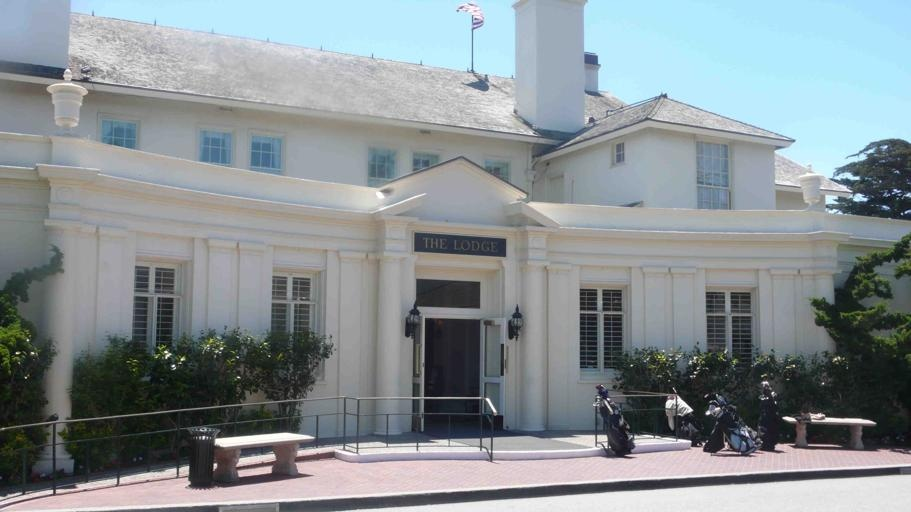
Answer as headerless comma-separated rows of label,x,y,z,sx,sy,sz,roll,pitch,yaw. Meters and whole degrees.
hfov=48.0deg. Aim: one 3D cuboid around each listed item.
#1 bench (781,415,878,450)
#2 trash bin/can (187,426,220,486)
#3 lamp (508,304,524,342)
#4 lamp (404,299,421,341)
bench,12.764,5.927,34.810,2.781,1.121,2.385,-3,-8,19
trash bin/can,-7.062,5.556,28.553,0.713,1.635,0.390,1,-9,-12
lamp,2.176,2.297,36.292,0.650,1.192,0.417,0,-8,-4
lamp,-1.459,2.175,35.364,0.559,1.224,0.580,-1,-8,7
